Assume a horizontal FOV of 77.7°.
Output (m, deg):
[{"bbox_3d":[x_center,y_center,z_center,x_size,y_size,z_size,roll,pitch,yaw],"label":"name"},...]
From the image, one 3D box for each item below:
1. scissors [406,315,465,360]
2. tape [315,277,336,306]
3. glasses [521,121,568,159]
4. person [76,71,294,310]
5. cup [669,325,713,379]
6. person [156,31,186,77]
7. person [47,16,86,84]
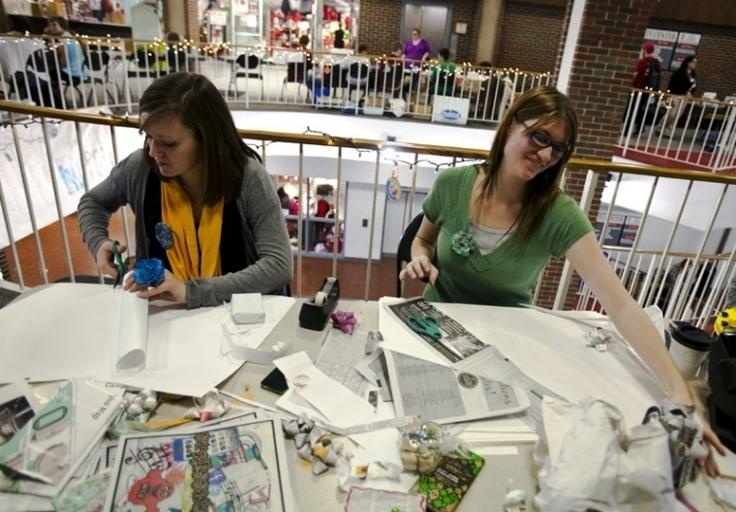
[{"bbox_3d":[0.245,0.269,1.639,0.086,0.024,0.215,-5,27,-30],"label":"scissors"},{"bbox_3d":[-0.152,0.123,1.699,0.040,0.050,0.135,13,32,7],"label":"tape"},{"bbox_3d":[0.713,-0.458,1.839,0.131,0.042,0.135,21,27,-30],"label":"glasses"},{"bbox_3d":[-0.814,-0.310,1.961,1.020,0.888,0.701,16,26,27],"label":"person"},{"bbox_3d":[1.122,0.339,1.582,0.128,0.156,0.141,-3,20,-2],"label":"cup"},{"bbox_3d":[-3.263,-3.363,7.559,0.405,0.631,1.271,-6,25,-22],"label":"person"},{"bbox_3d":[-4.448,-3.058,6.726,0.370,0.905,2.201,-11,27,-31],"label":"person"}]
